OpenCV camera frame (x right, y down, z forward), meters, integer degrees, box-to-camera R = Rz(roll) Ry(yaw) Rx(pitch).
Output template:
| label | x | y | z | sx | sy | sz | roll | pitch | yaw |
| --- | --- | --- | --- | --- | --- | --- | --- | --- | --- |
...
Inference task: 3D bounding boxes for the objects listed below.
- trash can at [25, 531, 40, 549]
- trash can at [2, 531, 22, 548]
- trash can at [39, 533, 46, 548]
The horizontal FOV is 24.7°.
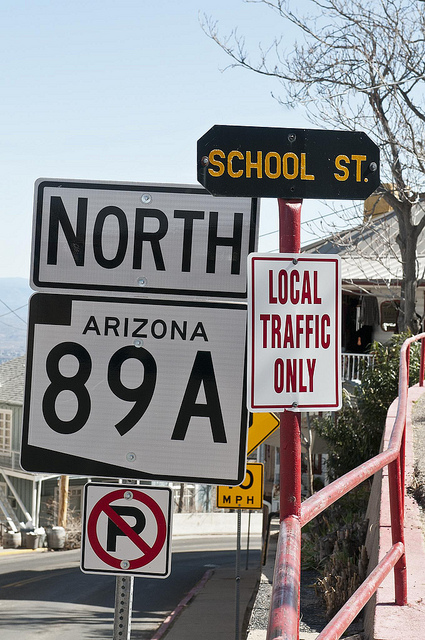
| label | x | y | z | sx | sy | sz | roll | pitch | yaw |
| --- | --- | --- | --- | --- | --- | --- | --- | --- | --- |
| trash can | -5.161 | 6.342 | 27.998 | 0.340 | 0.409 | 0.384 | 1 | -3 | -5 |
| trash can | -5.763 | 6.328 | 28.101 | 0.421 | 0.415 | 0.447 | 0 | -3 | 20 |
| trash can | -4.967 | 6.443 | 28.459 | 0.301 | 0.380 | 0.230 | 2 | -7 | -12 |
